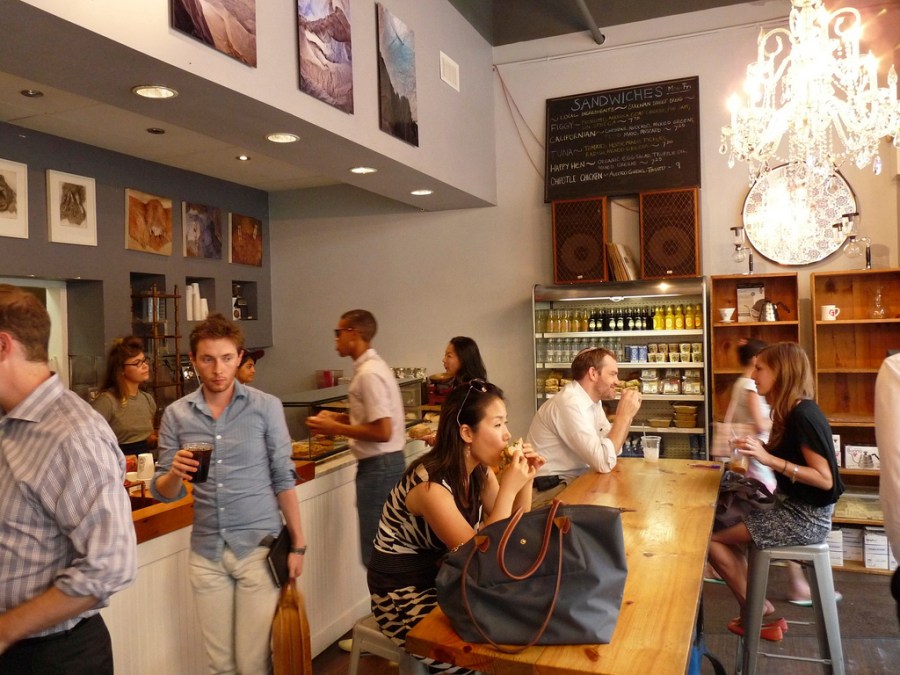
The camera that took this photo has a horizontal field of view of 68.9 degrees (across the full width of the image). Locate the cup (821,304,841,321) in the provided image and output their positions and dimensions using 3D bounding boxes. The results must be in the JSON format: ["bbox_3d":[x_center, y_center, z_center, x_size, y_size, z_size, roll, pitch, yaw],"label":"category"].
[{"bbox_3d":[3.083,-0.200,5.357,0.147,0.120,0.118,2,-3,19],"label":"cup"}]

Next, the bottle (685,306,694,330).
[{"bbox_3d":[2.090,-0.169,5.745,0.086,0.190,0.154,8,7,10],"label":"bottle"}]

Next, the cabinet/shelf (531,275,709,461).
[{"bbox_3d":[1.458,0.234,5.301,1.457,1.856,0.567,-1,-4,16],"label":"cabinet/shelf"}]

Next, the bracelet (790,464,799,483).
[{"bbox_3d":[1.794,0.709,3.422,0.030,0.085,0.060,5,-16,6],"label":"bracelet"}]

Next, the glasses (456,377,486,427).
[{"bbox_3d":[0.078,0.256,2.648,0.043,0.156,0.150,24,9,-2],"label":"glasses"}]

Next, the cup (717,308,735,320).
[{"bbox_3d":[2.382,-0.194,5.644,0.112,0.094,0.114,-1,-4,0],"label":"cup"}]

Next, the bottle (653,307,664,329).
[{"bbox_3d":[1.860,-0.167,5.840,0.093,0.193,0.120,7,7,-2],"label":"bottle"}]

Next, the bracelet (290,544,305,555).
[{"bbox_3d":[-0.673,0.948,2.934,0.041,0.017,0.039,0,2,13],"label":"bracelet"}]

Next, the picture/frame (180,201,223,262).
[{"bbox_3d":[-2.604,-1.102,6.823,0.024,0.708,0.488,-11,-24,30],"label":"picture/frame"}]

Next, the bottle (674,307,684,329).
[{"bbox_3d":[2.016,-0.168,5.784,0.079,0.187,0.141,8,7,8],"label":"bottle"}]

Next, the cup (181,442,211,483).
[{"bbox_3d":[-0.957,0.480,2.524,0.120,0.148,0.125,0,-8,0],"label":"cup"}]

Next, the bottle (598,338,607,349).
[{"bbox_3d":[1.379,0.055,5.963,0.069,0.122,0.078,-2,3,-18],"label":"bottle"}]

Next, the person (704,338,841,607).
[{"bbox_3d":[1.747,0.831,3.708,0.748,1.590,0.677,0,-6,13],"label":"person"}]

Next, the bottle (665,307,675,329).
[{"bbox_3d":[1.942,-0.166,5.801,0.072,0.183,0.114,8,7,5],"label":"bottle"}]

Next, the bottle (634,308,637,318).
[{"bbox_3d":[1.686,-0.225,5.979,0.013,0.059,0.059,-1,7,24],"label":"bottle"}]

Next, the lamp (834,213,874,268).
[{"bbox_3d":[3.345,-0.808,5.417,0.360,0.353,0.341,10,7,16],"label":"lamp"}]

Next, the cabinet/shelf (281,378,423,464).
[{"bbox_3d":[-0.641,0.501,4.313,0.909,0.312,0.292,-9,-7,-11],"label":"cabinet/shelf"}]

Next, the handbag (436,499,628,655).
[{"bbox_3d":[0.266,0.809,2.168,0.625,0.460,0.377,-14,-25,19],"label":"handbag"}]

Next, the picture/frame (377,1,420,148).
[{"bbox_3d":[-0.394,-1.912,4.830,0.176,0.897,0.545,10,7,24],"label":"picture/frame"}]

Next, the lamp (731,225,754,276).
[{"bbox_3d":[2.600,-0.772,5.828,0.183,0.429,0.122,0,3,20],"label":"lamp"}]

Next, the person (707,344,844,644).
[{"bbox_3d":[1.802,0.858,3.705,0.713,1.617,0.619,-1,-8,33],"label":"person"}]
